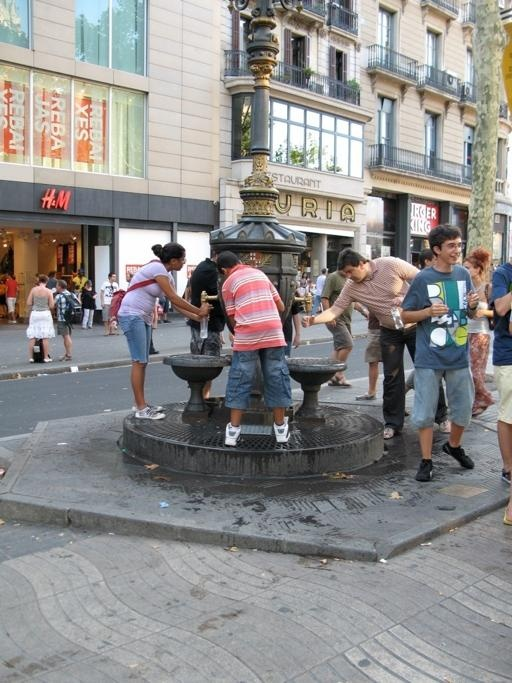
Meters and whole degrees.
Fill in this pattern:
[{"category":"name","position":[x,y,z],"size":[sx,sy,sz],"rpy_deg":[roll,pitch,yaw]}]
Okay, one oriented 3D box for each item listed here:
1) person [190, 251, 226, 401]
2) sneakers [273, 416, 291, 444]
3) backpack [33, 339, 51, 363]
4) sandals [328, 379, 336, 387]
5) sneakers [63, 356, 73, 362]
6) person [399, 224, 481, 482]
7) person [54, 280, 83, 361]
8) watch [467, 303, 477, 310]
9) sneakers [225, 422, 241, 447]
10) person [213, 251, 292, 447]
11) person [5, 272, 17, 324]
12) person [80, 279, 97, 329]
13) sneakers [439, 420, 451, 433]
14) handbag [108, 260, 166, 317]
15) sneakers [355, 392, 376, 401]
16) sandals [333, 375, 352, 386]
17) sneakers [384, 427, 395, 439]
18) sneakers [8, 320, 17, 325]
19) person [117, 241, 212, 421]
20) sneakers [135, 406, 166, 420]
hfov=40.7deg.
[{"category":"person","position":[-0.652,-0.154,7.734],"size":[0.558,1.594,0.516],"rpy_deg":[2,-20,-12]},{"category":"sneakers","position":[0.200,0.688,5.337],"size":[0.081,0.104,0.235],"rpy_deg":[-4,28,7]},{"category":"backpack","position":[-4.218,0.229,13.450],"size":[0.192,0.377,0.564],"rpy_deg":[3,17,4]},{"category":"sandals","position":[1.121,0.625,10.270],"size":[0.084,0.094,0.106],"rpy_deg":[-1,-1,-2]},{"category":"sneakers","position":[-3.758,0.344,13.750],"size":[0.161,0.098,0.397],"rpy_deg":[-2,4,-17]},{"category":"person","position":[1.347,0.079,5.139],"size":[0.534,1.853,0.589],"rpy_deg":[1,5,15]},{"category":"person","position":[-3.920,-0.454,14.350],"size":[0.500,1.602,1.545],"rpy_deg":[-2,4,-14]},{"category":"watch","position":[1.534,-0.243,4.926],"size":[0.042,0.040,0.083],"rpy_deg":[-9,-17,31]},{"category":"sneakers","position":[-0.184,0.713,5.202],"size":[0.077,0.097,0.219],"rpy_deg":[4,15,7]},{"category":"person","position":[-0.016,0.052,5.320],"size":[0.546,1.481,0.371],"rpy_deg":[-1,5,-5]},{"category":"person","position":[-8.735,-1.450,24.771],"size":[0.354,1.568,1.207],"rpy_deg":[-2,5,-18]},{"category":"person","position":[-5.415,-1.175,22.172],"size":[0.450,1.524,0.926],"rpy_deg":[-2,5,-14]},{"category":"sneakers","position":[1.872,0.846,6.845],"size":[0.113,0.101,0.254],"rpy_deg":[-1,0,14]},{"category":"handbag","position":[-1.116,-0.491,6.662],"size":[0.492,0.628,0.627],"rpy_deg":[16,-7,-17]},{"category":"sneakers","position":[1.412,0.712,8.820],"size":[0.272,0.091,0.094],"rpy_deg":[2,-7,-16]},{"category":"sandals","position":[1.312,0.596,10.190],"size":[0.343,0.138,0.107],"rpy_deg":[2,5,42]},{"category":"sneakers","position":[1.266,0.880,6.580],"size":[0.089,0.091,0.224],"rpy_deg":[-2,-4,18]},{"category":"sneakers","position":[-8.636,-0.670,24.471],"size":[0.143,0.142,0.386],"rpy_deg":[-10,13,-42]},{"category":"person","position":[-0.968,-0.116,6.894],"size":[0.798,1.711,1.533],"rpy_deg":[-1,4,-9]},{"category":"sneakers","position":[-0.982,0.665,6.343],"size":[0.316,0.117,0.110],"rpy_deg":[2,6,3]}]
